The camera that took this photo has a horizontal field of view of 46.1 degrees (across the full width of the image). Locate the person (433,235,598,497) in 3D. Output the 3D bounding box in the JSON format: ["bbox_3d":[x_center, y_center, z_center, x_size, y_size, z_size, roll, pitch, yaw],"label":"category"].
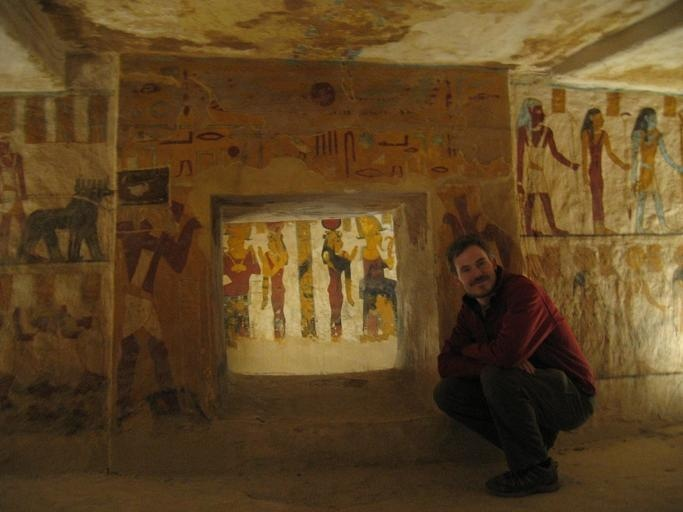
[{"bbox_3d":[1.065,0.658,5.000,0.987,1.564,0.371,1,-1,16],"label":"person"}]
